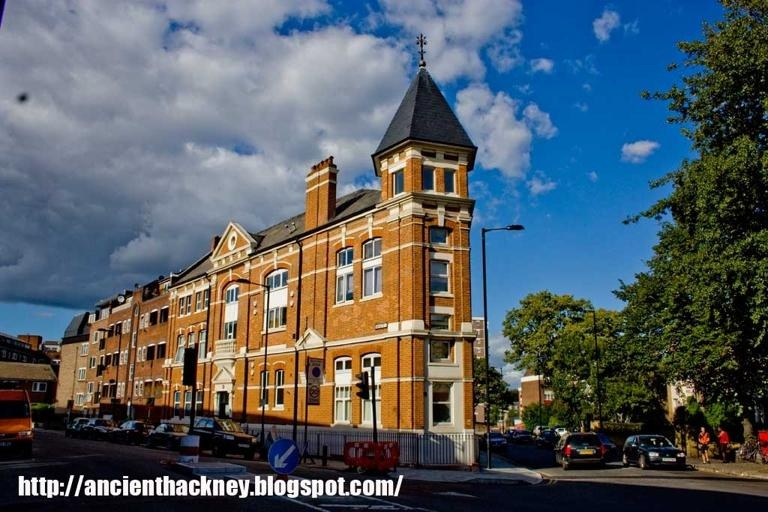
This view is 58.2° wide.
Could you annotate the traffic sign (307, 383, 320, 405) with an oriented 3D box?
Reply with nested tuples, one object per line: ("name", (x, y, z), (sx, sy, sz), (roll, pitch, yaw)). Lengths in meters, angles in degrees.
("traffic sign", (-4.009, 7.794, 39.021), (1.237, 1.383, 0.181), (17, -29, -40))
